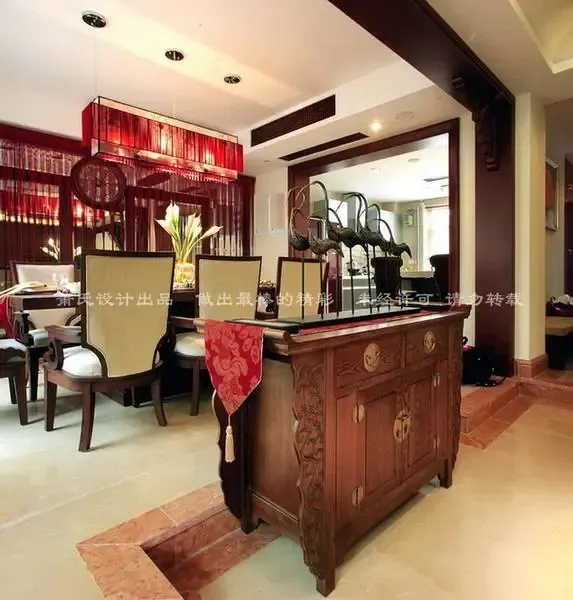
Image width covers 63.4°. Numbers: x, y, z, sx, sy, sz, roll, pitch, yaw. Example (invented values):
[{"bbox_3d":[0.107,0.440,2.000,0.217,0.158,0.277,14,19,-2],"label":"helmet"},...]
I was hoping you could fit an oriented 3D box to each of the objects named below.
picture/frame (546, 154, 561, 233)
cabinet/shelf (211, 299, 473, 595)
[{"bbox_3d":[3.068,-1.210,5.349,0.065,1.006,0.850,3,6,38],"label":"picture/frame"},{"bbox_3d":[0.204,0.598,1.780,0.301,0.683,0.867,1,3,38],"label":"cabinet/shelf"}]
